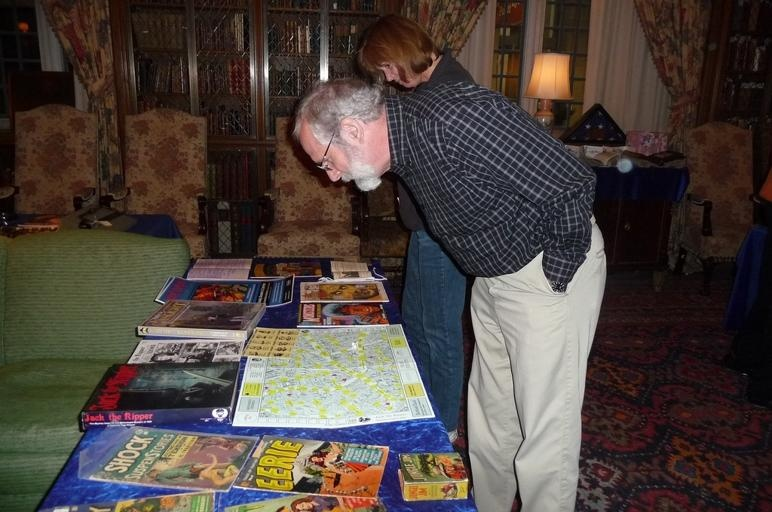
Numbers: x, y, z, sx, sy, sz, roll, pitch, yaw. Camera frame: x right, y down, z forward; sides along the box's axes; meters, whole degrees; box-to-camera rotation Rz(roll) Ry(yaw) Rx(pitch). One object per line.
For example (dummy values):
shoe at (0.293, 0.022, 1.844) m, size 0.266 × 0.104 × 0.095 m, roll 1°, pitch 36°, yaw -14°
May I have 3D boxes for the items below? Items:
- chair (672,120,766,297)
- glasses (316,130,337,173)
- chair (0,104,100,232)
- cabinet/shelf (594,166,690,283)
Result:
chair at (3.173, -0.525, 5.173) m, size 0.824 × 1.460 × 0.606 m, roll -5°, pitch 14°, yaw -23°
glasses at (-0.242, -0.406, 2.136) m, size 0.030 × 0.113 × 0.106 m, roll 22°, pitch 7°, yaw -1°
chair at (-2.903, -0.843, 4.713) m, size 0.655 × 0.898 × 0.297 m, roll 0°, pitch 13°, yaw -1°
cabinet/shelf at (2.220, -0.299, 4.767) m, size 0.945 × 0.891 × 0.590 m, roll -2°, pitch 21°, yaw 0°
